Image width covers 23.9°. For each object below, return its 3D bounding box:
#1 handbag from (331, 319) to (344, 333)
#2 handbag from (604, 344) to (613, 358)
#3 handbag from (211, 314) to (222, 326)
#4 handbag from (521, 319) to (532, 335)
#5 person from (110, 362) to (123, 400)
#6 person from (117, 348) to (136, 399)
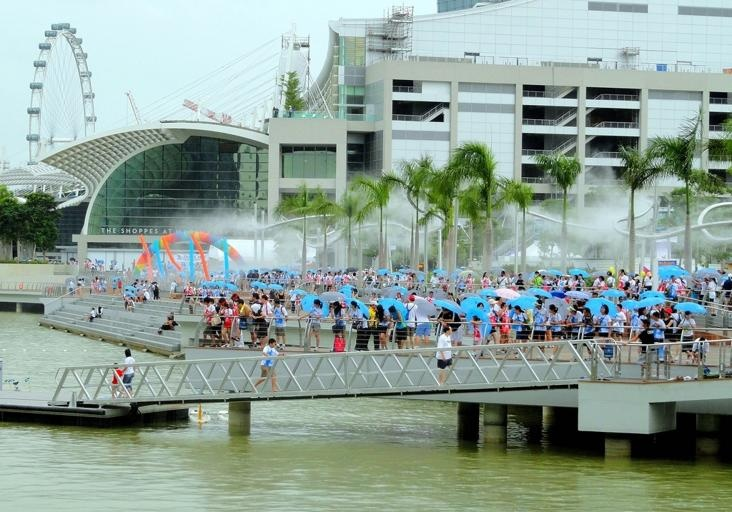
[{"bbox_3d":[-1.784,4.429,106.316,0.659,1.242,0.866,-14,-2,-1],"label":"handbag"},{"bbox_3d":[14.234,5.672,101.704,0.559,0.746,0.704,2,12,3],"label":"handbag"},{"bbox_3d":[-9.500,4.154,108.990,0.547,1.034,0.719,-3,1,2],"label":"handbag"},{"bbox_3d":[9.715,4.473,105.161,0.710,1.026,0.732,3,2,22],"label":"handbag"},{"bbox_3d":[-15.238,7.557,105.356,0.696,2.076,1.506,0,12,-8],"label":"person"},{"bbox_3d":[-14.934,7.458,107.280,1.173,3.678,1.154,3,-29,-3],"label":"person"}]
